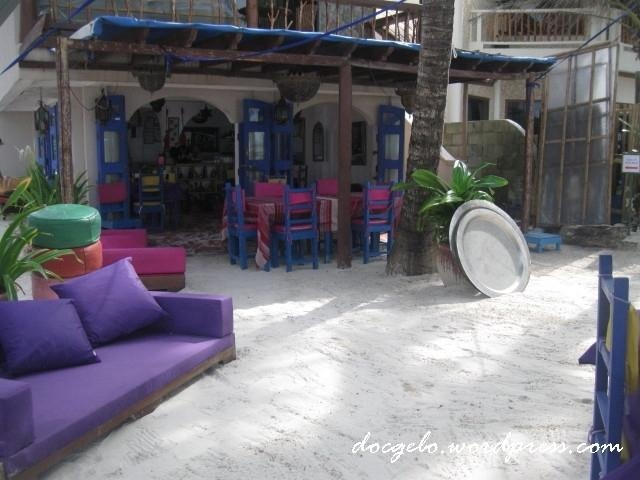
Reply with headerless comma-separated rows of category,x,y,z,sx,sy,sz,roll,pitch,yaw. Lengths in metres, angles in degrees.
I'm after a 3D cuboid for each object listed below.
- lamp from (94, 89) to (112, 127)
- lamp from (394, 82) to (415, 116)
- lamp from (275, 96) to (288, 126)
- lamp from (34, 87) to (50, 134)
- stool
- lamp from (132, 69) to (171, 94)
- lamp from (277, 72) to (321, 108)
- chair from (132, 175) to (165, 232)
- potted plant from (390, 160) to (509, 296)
lamp,-3.545,-2.184,9.490,0.265,0.563,0.361,-5,12,-20
lamp,1.596,-2.651,10.843,0.330,0.514,0.453,1,12,8
lamp,-0.703,-2.357,10.568,0.265,0.453,0.185,-5,2,-27
lamp,-5.791,-2.627,12.088,0.287,0.802,1.523,-6,13,-25
stool,-2.100,0.103,4.742,0.438,0.809,0.479,8,18,4
lamp,-2.371,-2.232,8.078,0.470,0.277,0.179,1,12,11
lamp,-0.268,-2.315,8.852,0.643,0.454,0.699,7,13,19
chair,-3.013,-0.680,10.392,0.585,1.065,0.664,-1,3,3
potted plant,1.640,-0.146,6.861,1.398,1.580,1.308,16,24,43
